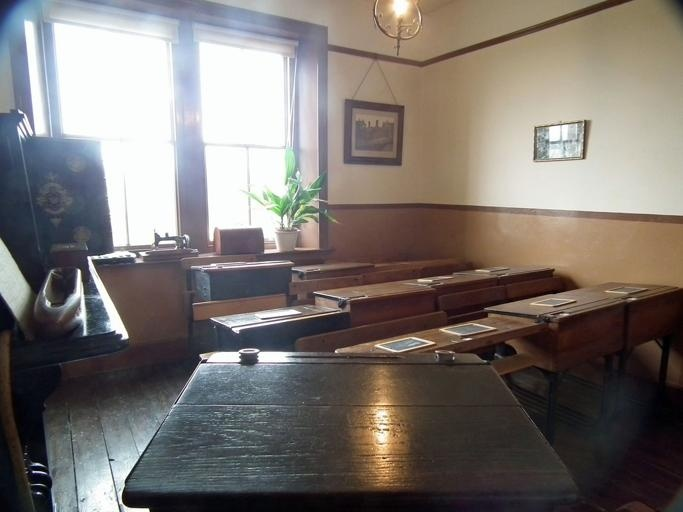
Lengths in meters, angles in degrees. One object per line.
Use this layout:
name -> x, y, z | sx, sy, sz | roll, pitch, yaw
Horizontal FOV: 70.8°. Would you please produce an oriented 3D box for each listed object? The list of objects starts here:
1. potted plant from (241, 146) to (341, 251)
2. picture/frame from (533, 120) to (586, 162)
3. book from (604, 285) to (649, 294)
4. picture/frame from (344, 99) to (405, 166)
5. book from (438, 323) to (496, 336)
potted plant -> -0.466, -0.545, 4.775 | 0.677, 1.000, 0.788 | 3, 10, 15
picture/frame -> 1.922, -1.001, 4.220 | 0.028, 0.290, 0.398 | -6, 12, -31
book -> 2.027, 0.250, 3.444 | 0.130, 0.014, 0.118 | -10, 6, 1
picture/frame -> 0.367, -1.301, 5.221 | 0.815, 0.697, 0.051 | 15, 21, 37
book -> 0.703, 0.411, 2.686 | 0.296, 0.022, 0.207 | -6, 12, -34
